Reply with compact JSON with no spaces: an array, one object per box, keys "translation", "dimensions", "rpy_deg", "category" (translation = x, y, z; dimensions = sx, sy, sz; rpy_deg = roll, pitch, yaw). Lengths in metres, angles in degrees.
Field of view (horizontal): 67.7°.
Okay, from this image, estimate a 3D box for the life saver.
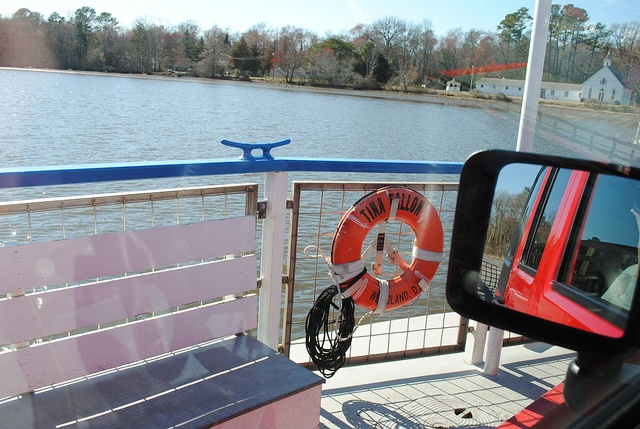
[{"translation":[0.409,0.212,2.822],"dimensions":[0.697,0.718,0.153],"rpy_deg":[-6,22,-20],"category":"life saver"}]
